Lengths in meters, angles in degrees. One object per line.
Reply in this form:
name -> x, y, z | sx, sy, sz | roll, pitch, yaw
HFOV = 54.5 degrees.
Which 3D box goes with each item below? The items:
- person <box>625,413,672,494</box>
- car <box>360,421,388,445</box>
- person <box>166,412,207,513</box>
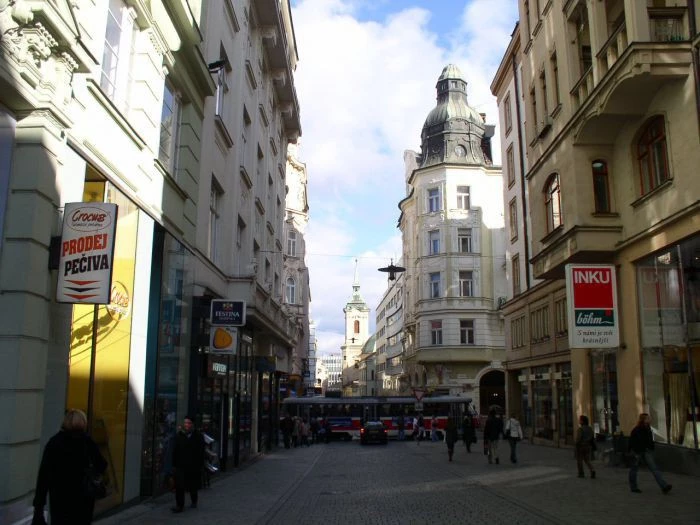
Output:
person -> 7.266, 4.691, 16.711 | 0.783, 1.911, 1.122 | -4, -16, 12
car -> 1.342, 9.828, 38.852 | 1.117, 1.134, 2.810 | 0, -13, 2
person -> -3.763, 4.625, 15.674 | 0.621, 2.123, 1.052 | -8, -17, 25
